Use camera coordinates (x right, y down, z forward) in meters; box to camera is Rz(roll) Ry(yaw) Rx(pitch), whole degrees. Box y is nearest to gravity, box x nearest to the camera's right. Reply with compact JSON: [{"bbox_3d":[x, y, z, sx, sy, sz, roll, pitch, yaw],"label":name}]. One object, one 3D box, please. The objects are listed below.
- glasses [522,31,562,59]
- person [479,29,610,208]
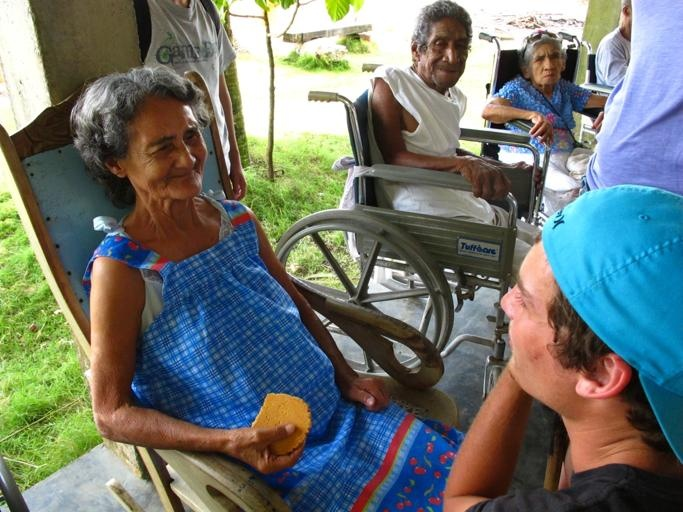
[{"bbox_3d":[1.198,-1.301,3.349,0.178,0.063,0.174,-14,-7,-10],"label":"glasses"},{"bbox_3d":[1.334,-0.866,3.341,0.611,1.119,0.679,-16,29,-21],"label":"person"}]
